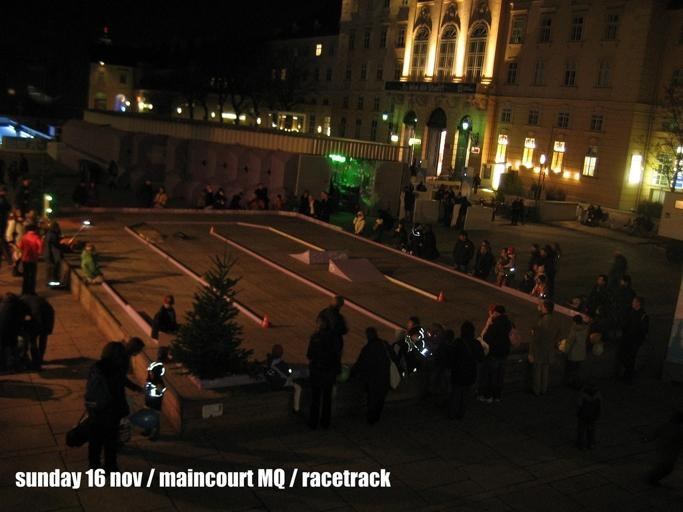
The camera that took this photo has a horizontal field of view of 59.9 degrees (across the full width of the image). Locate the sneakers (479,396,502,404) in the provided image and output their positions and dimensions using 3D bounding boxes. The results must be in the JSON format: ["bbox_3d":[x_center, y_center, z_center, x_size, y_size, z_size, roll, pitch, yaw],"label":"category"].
[{"bbox_3d":[3.299,3.165,13.159,0.448,0.213,0.172,3,8,6],"label":"sneakers"}]
